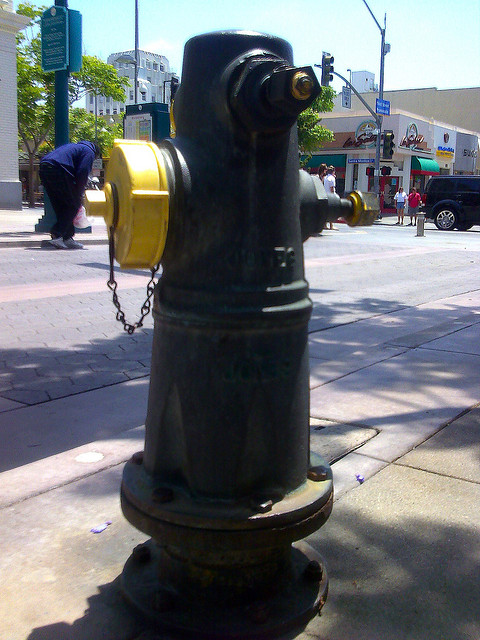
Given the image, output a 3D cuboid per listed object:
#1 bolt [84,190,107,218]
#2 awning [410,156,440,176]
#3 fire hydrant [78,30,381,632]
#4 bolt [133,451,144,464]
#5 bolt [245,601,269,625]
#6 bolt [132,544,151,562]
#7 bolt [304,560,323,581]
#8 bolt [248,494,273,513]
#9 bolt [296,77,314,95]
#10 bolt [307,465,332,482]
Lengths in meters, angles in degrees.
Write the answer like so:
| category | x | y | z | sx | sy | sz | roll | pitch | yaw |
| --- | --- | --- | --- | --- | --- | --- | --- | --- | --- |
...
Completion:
| category | x | y | z | sx | sy | sz | roll | pitch | yaw |
| --- | --- | --- | --- | --- | --- | --- | --- | --- | --- |
| bolt | -0.390 | -0.314 | 1.431 | 0.053 | 0.076 | 0.197 | -4 | 10 | -16 |
| awning | 15.671 | -13.175 | 45.643 | 0.880 | 1.555 | 3.902 | 8 | 13 | 42 |
| fire hydrant | -0.091 | 0.052 | 1.532 | 0.692 | 1.618 | 0.658 | 2 | 10 | 15 |
| bolt | -0.331 | 0.448 | 1.752 | 0.037 | 0.027 | 0.037 | 2 | 2 | 16 |
| bolt | 0.043 | 0.788 | 1.436 | 0.043 | 0.040 | 0.042 | 0 | 5 | 5 |
| bolt | -0.331 | 0.770 | 1.765 | 0.041 | 0.023 | 0.041 | 1 | 0 | 11 |
| bolt | 0.226 | 0.765 | 1.639 | 0.045 | 0.045 | 0.049 | 0 | 11 | 7 |
| bolt | 0.051 | 0.481 | 1.399 | 0.061 | 0.017 | 0.082 | 0 | 10 | 2 |
| bolt | 0.136 | -0.494 | 1.129 | 0.029 | 0.028 | 0.031 | -8 | 13 | 6 |
| bolt | 0.240 | 0.473 | 1.640 | 0.057 | 0.027 | 0.051 | -2 | 3 | 5 |
